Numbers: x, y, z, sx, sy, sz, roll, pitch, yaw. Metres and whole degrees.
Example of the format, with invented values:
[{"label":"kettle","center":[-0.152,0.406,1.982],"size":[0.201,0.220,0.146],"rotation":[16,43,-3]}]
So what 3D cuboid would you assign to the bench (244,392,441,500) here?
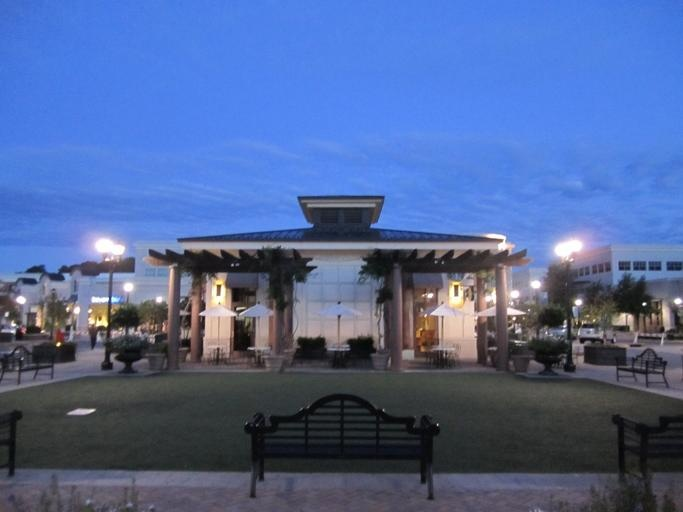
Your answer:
[{"label":"bench","center":[0.011,2.822,8.634],"size":[2.677,1.436,0.995],"rotation":[1,-12,-3]}]

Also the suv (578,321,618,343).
[{"label":"suv","center":[19.714,5.938,44.955],"size":[3.156,1.751,3.025],"rotation":[-2,-2,14]}]

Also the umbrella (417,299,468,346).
[{"label":"umbrella","center":[4.194,2.802,25.074],"size":[2.246,2.666,2.284],"rotation":[-3,-5,20]}]

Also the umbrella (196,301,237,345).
[{"label":"umbrella","center":[-5.396,2.931,25.278],"size":[1.574,1.773,1.657],"rotation":[1,3,5]}]

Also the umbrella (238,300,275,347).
[{"label":"umbrella","center":[-3.607,2.950,25.262],"size":[1.492,2.018,1.686],"rotation":[0,12,1]}]

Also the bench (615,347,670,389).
[{"label":"bench","center":[9.744,3.615,18.849],"size":[0.830,1.219,1.892],"rotation":[2,-6,-4]}]

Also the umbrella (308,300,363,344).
[{"label":"umbrella","center":[-0.143,2.820,23.679],"size":[2.068,1.855,2.115],"rotation":[3,-10,-20]}]

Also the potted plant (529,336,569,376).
[{"label":"potted plant","center":[7.808,3.831,21.712],"size":[1.337,1.355,1.334],"rotation":[9,-14,-1]}]

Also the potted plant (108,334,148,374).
[{"label":"potted plant","center":[-7.965,3.667,21.723],"size":[1.205,1.299,1.255],"rotation":[-2,-5,8]}]
